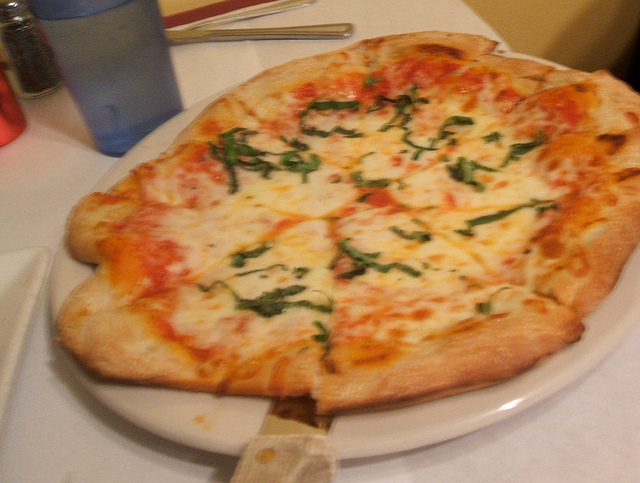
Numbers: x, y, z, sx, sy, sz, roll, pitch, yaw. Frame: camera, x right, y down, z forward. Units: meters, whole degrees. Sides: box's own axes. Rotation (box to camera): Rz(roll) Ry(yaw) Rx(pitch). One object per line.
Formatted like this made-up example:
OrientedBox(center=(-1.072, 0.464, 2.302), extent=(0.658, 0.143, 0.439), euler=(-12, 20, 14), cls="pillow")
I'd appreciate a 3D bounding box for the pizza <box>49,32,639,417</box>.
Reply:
OrientedBox(center=(0.115, -0.046, 0.986), extent=(0.828, 0.079, 0.792), euler=(13, 38, 27), cls="pizza")
